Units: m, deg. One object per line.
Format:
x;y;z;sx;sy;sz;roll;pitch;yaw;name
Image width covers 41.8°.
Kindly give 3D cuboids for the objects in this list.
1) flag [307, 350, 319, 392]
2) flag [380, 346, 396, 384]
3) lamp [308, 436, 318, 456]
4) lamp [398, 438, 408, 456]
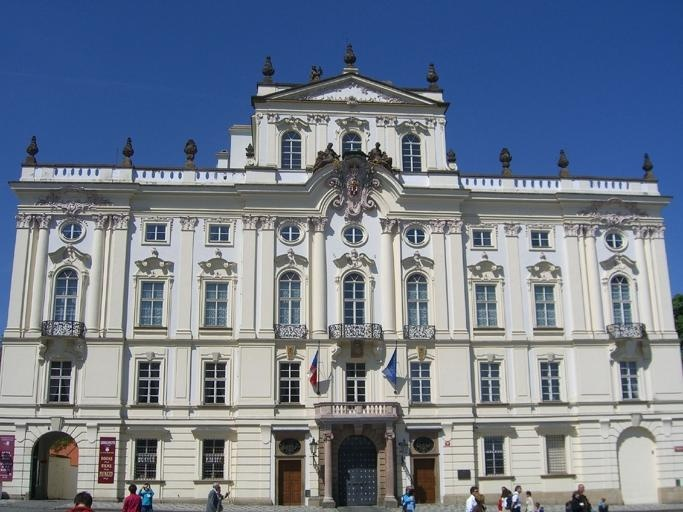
-1.876;7.900;61.833;0.666;2.830;0.926;1;-16;-3;flag
3.422;7.648;62.436;0.944;2.550;0.912;-2;-16;7;flag
-1.905;12.997;60.946;0.553;1.297;0.313;1;-16;-3;lamp
4.290;13.335;62.074;0.839;1.280;0.884;-1;-9;3;lamp
